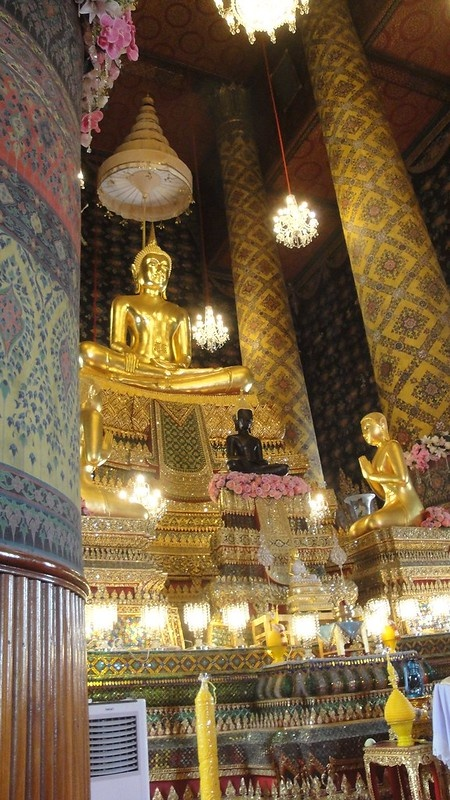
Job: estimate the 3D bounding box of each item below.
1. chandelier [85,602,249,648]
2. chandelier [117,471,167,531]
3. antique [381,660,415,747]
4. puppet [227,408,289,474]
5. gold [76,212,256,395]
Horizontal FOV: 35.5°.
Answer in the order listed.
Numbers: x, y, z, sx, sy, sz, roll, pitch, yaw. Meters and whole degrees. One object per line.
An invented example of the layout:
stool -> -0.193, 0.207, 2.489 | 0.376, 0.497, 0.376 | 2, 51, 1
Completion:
chandelier -> -0.260, 0.961, 3.055 | 0.453, 0.234, 0.720 | -19, -26, 24
chandelier -> -0.469, 0.555, 3.884 | 0.248, 0.386, 0.251 | -9, -18, 20
antique -> 0.537, 0.933, 2.189 | 0.090, 0.239, 0.265 | -12, -24, 10
puppet -> 0.203, 0.276, 4.830 | 0.390, 0.513, 0.383 | -2, -12, 0
gold -> -0.630, -1.023, 7.453 | 1.797, 2.200, 1.133 | 16, -32, -27
